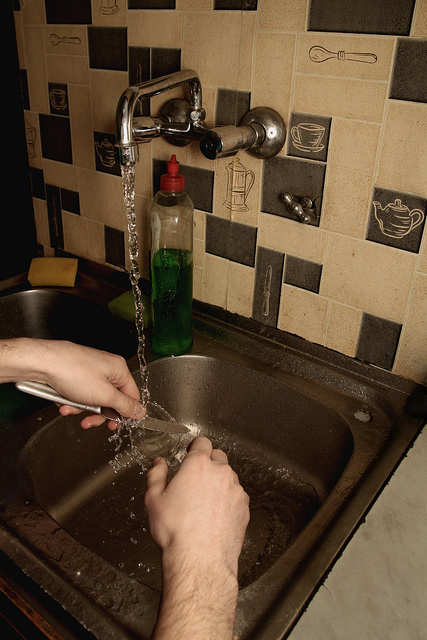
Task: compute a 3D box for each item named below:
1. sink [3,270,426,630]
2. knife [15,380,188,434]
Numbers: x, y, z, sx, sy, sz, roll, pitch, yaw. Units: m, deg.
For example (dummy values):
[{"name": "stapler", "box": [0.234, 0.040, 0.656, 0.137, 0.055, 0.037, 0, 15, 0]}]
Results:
[{"name": "sink", "box": [0.005, 0.204, 0.788, 0.471, 0.239, 0.600, 25, 51, 20]}, {"name": "knife", "box": [-0.169, 0.139, 0.760, 0.254, 0.027, 0.049, 22, -20, -9]}]
